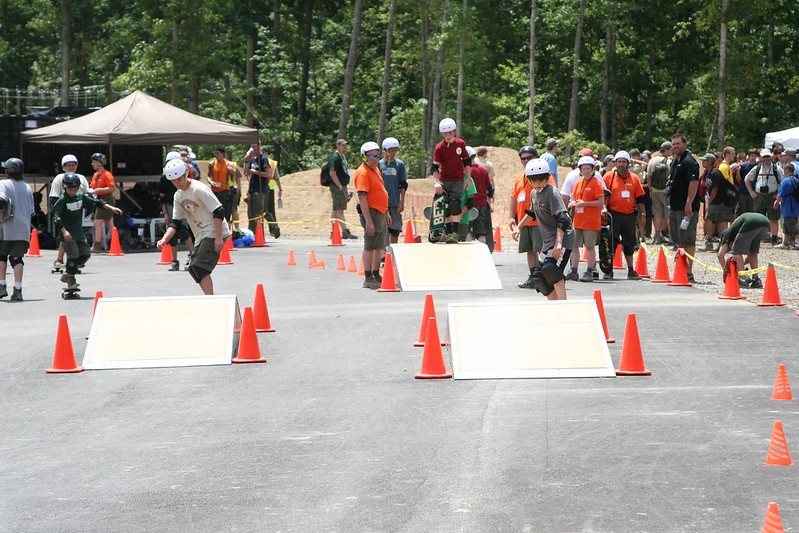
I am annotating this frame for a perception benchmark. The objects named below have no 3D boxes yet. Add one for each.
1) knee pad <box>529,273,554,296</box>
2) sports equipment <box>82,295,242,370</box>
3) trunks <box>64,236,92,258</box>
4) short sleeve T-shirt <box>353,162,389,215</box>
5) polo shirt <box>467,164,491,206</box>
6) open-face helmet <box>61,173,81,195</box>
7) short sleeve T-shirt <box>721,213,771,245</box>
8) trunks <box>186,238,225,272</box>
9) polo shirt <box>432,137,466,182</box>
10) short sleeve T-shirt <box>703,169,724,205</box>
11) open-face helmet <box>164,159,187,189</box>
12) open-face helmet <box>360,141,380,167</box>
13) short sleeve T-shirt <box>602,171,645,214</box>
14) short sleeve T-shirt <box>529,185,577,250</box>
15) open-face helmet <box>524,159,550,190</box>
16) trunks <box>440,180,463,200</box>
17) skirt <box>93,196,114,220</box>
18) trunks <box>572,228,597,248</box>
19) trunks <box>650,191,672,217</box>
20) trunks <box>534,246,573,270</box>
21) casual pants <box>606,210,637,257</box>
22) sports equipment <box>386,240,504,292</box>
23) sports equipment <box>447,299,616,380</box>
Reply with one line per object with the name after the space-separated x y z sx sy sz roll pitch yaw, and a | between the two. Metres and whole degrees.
2.163 0.266 15.941 0.261 0.356 0.200 -38 21 21 | knee pad
-3.183 0.893 14.140 1.439 0.518 1.176 0 33 -3 | sports equipment
-5.874 -0.310 19.080 0.377 0.393 0.787 -1 15 1 | trunks
-0.509 -1.385 18.778 0.652 0.877 0.578 -6 15 -20 | short sleeve T-shirt
1.533 -1.581 20.642 0.410 0.740 0.689 9 18 36 | polo shirt
-5.993 -1.483 19.284 0.272 0.405 0.404 -6 15 -18 | open-face helmet
6.068 -0.670 18.557 0.744 0.564 0.537 -9 17 -30 | short sleeve T-shirt
-3.081 -0.195 16.725 0.304 0.510 0.513 19 -16 13 | trunks
0.989 -2.063 20.266 0.706 0.790 0.435 -1 14 0 | polo shirt
7.456 -1.912 24.858 0.353 0.832 0.885 3 15 17 | short sleeve T-shirt
-3.261 -1.329 15.502 0.285 0.446 0.532 -4 15 -10 | open-face helmet
-0.490 -2.009 18.947 0.334 0.431 0.434 -7 10 -23 | open-face helmet
4.217 -1.383 19.947 0.899 0.853 0.483 2 -2 -5 | short sleeve T-shirt
2.347 -0.736 16.066 0.607 1.036 0.911 0 14 4 | short sleeve T-shirt
2.078 -1.360 15.811 0.332 0.500 0.521 1 15 6 | open-face helmet
1.067 -1.469 20.338 0.452 0.582 0.322 1 0 10 | trunks
-6.490 -1.309 23.132 0.450 0.569 0.337 -9 5 7 | skirt
3.365 -0.534 19.152 0.181 0.302 0.303 -8 15 -34 | trunks
6.416 -1.535 26.014 0.399 0.685 0.657 2 15 12 | trunks
2.304 -0.203 15.896 0.561 0.414 0.308 1 -25 14 | trunks
4.229 -0.606 20.016 0.506 0.895 0.291 0 14 4 | casual pants
0.822 0.023 18.855 1.125 0.362 1.275 -2 33 -2 | sports equipment
1.665 0.923 13.613 2.042 0.823 0.778 -1 14 1 | sports equipment
